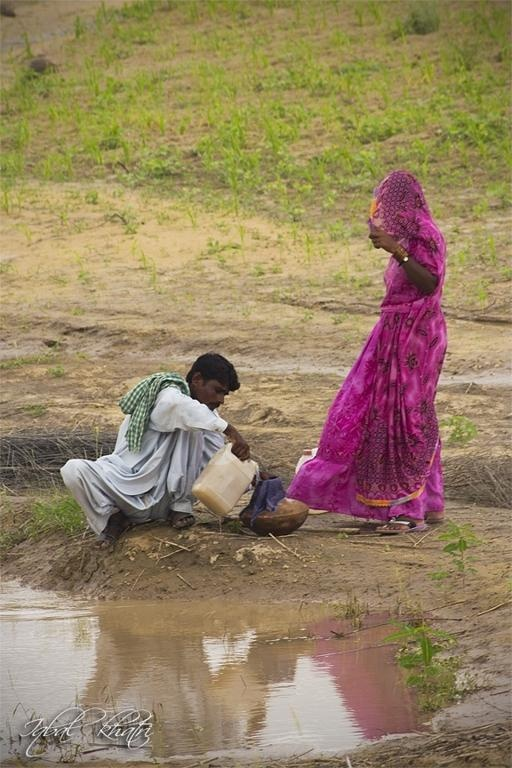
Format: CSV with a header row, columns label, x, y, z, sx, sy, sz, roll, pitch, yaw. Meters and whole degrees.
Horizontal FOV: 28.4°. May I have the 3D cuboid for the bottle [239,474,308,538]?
label,x,y,z,sx,sy,sz,roll,pitch,yaw
bottle,0.050,0.621,5.307,0.447,0.276,0.322,-2,-5,-7

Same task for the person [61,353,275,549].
label,x,y,z,sx,sy,sz,roll,pitch,yaw
person,-0.445,0.322,5.338,1.314,0.869,0.722,-4,-5,-22

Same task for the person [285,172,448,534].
label,x,y,z,sx,sy,sz,roll,pitch,yaw
person,0.780,-0.156,5.344,0.892,1.869,0.476,21,21,22

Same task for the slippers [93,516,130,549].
label,x,y,z,sx,sy,sz,roll,pitch,yaw
slippers,-0.737,0.769,5.322,0.088,0.254,0.108,46,0,0

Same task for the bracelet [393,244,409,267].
label,x,y,z,sx,sy,sz,roll,pitch,yaw
bracelet,0.741,-0.651,5.146,0.043,0.104,0.081,-32,6,36

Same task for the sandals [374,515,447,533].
label,x,y,z,sx,sy,sz,roll,pitch,yaw
sandals,0.833,0.738,5.429,0.376,0.073,0.121,-1,-5,-12
